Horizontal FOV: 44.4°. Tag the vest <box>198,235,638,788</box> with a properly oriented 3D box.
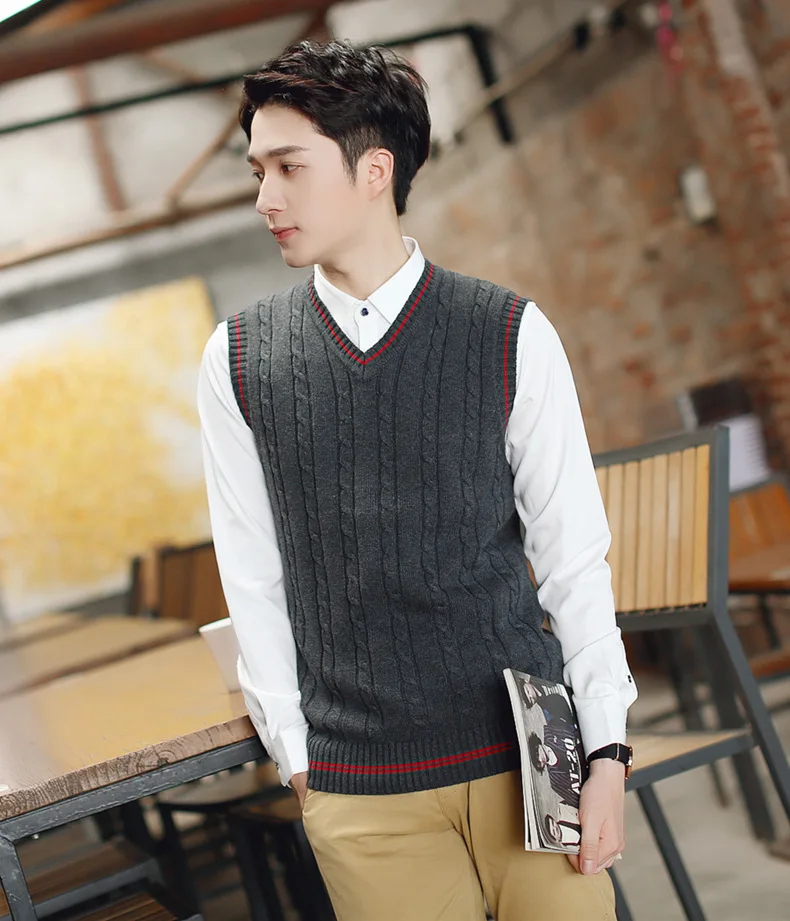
[{"bbox_3d":[0.023,0.089,1.450,0.695,0.650,0.334,-8,-7,2],"label":"vest"}]
